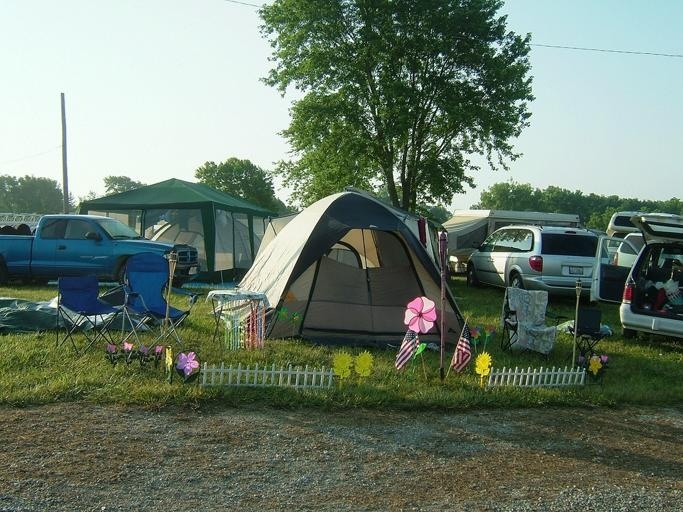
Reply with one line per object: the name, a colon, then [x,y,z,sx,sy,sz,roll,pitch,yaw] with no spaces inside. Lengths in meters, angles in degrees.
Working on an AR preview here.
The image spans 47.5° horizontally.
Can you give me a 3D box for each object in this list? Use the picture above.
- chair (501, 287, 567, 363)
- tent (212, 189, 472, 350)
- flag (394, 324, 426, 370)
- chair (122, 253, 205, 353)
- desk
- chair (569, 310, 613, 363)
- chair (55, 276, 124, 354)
chair: [2.921,0.980,12.023,0.782,1.044,1.087,6,-2,2]
tent: [0.196,0.335,12.825,3.046,1.501,2.787,4,7,24]
flag: [0.945,1.295,11.033,0.315,0.459,0.752,4,-2,5]
chair: [-2.992,0.638,12.378,0.996,1.407,0.989,-2,-4,15]
desk: [-1.617,0.916,12.121,1.041,0.942,1.053,4,3,25]
chair: [3.868,1.244,12.085,0.605,0.689,0.527,10,-11,37]
chair: [-3.908,0.768,11.802,0.819,0.979,0.759,-1,14,-23]
